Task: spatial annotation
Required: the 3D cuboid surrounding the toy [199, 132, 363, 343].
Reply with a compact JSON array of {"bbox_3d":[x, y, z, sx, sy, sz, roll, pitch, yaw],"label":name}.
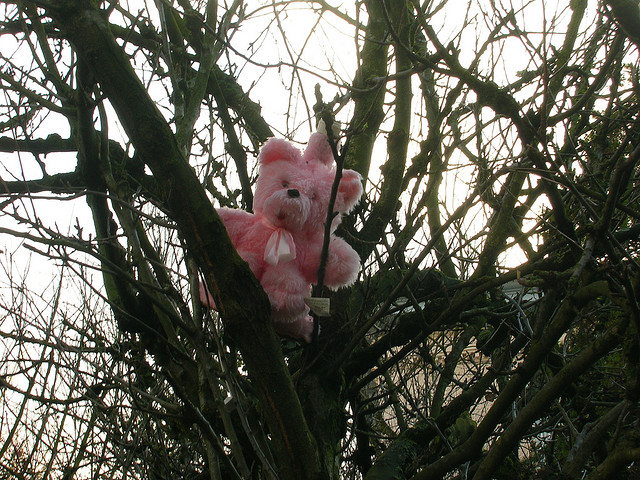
[{"bbox_3d":[-0.217,-0.039,4.503,0.910,1.407,0.613,14,-26,6],"label":"toy"}]
